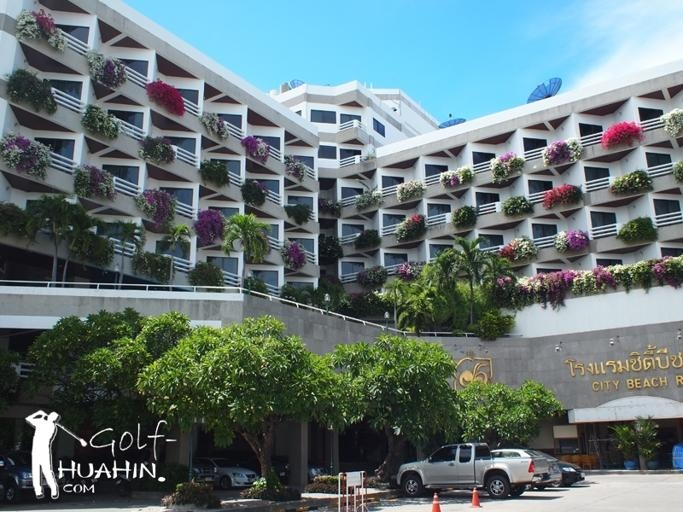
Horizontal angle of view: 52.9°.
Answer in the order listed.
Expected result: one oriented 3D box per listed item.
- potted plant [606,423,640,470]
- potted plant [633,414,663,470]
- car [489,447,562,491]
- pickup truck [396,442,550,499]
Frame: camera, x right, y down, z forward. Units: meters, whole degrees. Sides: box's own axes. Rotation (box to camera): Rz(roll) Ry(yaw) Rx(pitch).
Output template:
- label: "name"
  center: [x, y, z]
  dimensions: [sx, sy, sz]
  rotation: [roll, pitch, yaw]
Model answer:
- label: "potted plant"
  center: [18.402, 12.555, 44.738]
  dimensions: [1.751, 2.596, 1.435]
  rotation: [-17, -19, 39]
- label: "potted plant"
  center: [19.354, 12.010, 43.807]
  dimensions: [1.430, 3.126, 1.037]
  rotation: [1, -18, -13]
- label: "car"
  center: [8.274, 10.231, 32.821]
  dimensions: [4.001, 1.488, 1.935]
  rotation: [-4, -18, 22]
- label: "pickup truck"
  center: [5.792, 10.220, 32.546]
  dimensions: [6.279, 2.549, 0.741]
  rotation: [-14, -20, 29]
